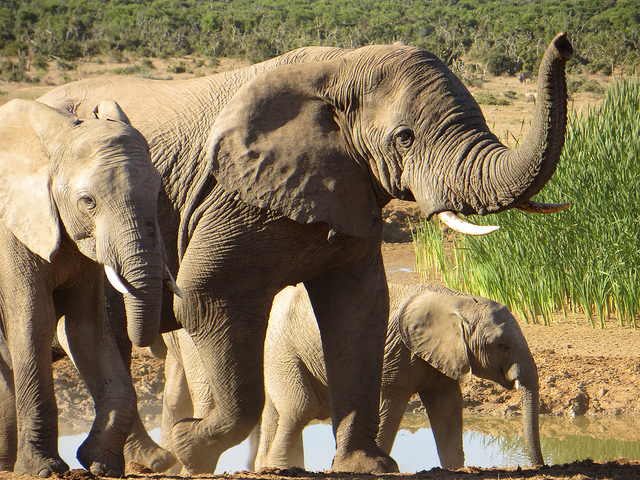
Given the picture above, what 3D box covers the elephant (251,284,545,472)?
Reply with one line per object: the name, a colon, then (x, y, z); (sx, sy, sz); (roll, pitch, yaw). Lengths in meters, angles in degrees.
elephant: (0.795, 1.122, 10.106); (2.810, 1.793, 1.243); (-3, -1, 19)
